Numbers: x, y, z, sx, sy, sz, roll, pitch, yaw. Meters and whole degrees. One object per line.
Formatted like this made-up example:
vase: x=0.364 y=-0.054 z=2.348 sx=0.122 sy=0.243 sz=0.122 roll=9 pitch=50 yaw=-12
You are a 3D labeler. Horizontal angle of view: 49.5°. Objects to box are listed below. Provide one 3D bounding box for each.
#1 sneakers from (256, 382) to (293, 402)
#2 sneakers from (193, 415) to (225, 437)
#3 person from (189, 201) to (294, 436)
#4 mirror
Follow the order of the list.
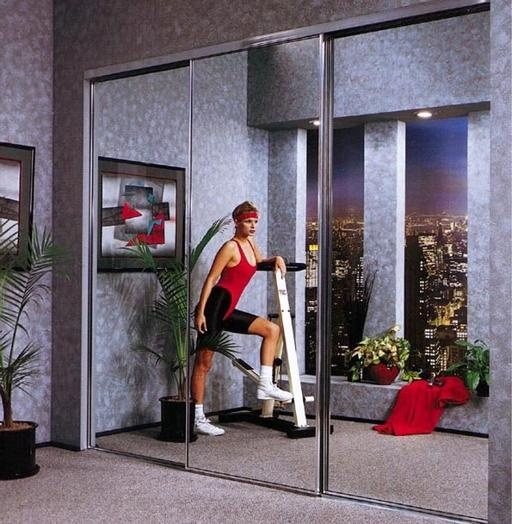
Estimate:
sneakers: x=0.105 y=0.770 z=3.279 sx=0.236 sy=0.111 sz=0.088 roll=2 pitch=-2 yaw=-7
sneakers: x=-0.295 y=1.020 z=3.448 sx=0.211 sy=0.100 sz=0.080 roll=2 pitch=-2 yaw=20
person: x=-0.093 y=0.351 z=3.338 sx=0.628 sy=1.419 sz=0.165 roll=-1 pitch=-2 yaw=29
mirror: x=0.201 y=0.007 z=3.579 sx=2.967 sy=2.787 sz=1.084 roll=-2 pitch=-2 yaw=41
